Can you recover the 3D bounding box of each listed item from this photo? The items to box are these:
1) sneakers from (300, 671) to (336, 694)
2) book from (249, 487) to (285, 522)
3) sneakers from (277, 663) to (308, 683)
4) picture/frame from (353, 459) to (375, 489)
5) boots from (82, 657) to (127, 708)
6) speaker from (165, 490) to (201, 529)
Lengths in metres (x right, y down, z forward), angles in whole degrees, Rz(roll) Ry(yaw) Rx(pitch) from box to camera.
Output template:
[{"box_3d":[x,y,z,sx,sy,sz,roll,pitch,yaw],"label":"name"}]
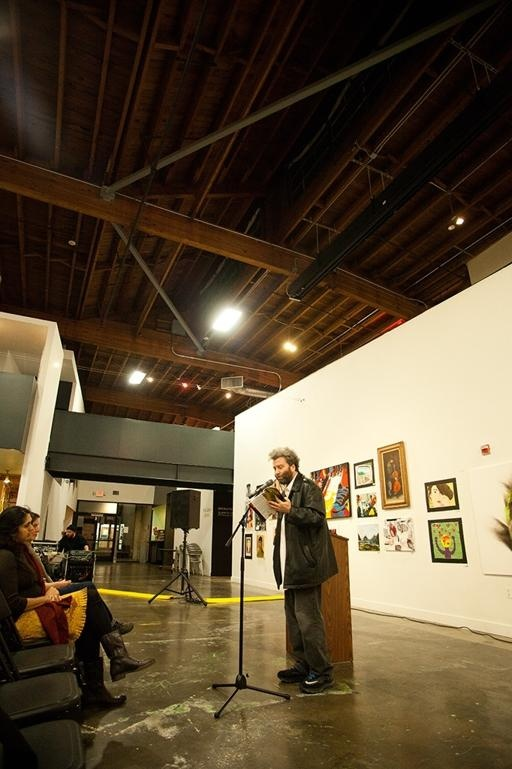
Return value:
[{"box_3d":[0.356,1.715,2.609,0.211,0.107,0.085,17,-27,-28],"label":"sneakers"},{"box_3d":[0.059,0.658,2.586,0.191,0.192,0.046,37,-10,-22],"label":"book"},{"box_3d":[0.224,1.817,2.843,0.186,0.098,0.078,11,-34,-13],"label":"sneakers"},{"box_3d":[1.593,1.295,6.563,0.027,0.402,0.402,10,-19,-18],"label":"picture/frame"},{"box_3d":[-0.800,1.561,2.377,0.219,0.238,0.111,2,-6,-12],"label":"boots"},{"box_3d":[-1.135,1.986,7.191,0.327,0.655,0.778,9,-19,-26],"label":"speaker"}]
